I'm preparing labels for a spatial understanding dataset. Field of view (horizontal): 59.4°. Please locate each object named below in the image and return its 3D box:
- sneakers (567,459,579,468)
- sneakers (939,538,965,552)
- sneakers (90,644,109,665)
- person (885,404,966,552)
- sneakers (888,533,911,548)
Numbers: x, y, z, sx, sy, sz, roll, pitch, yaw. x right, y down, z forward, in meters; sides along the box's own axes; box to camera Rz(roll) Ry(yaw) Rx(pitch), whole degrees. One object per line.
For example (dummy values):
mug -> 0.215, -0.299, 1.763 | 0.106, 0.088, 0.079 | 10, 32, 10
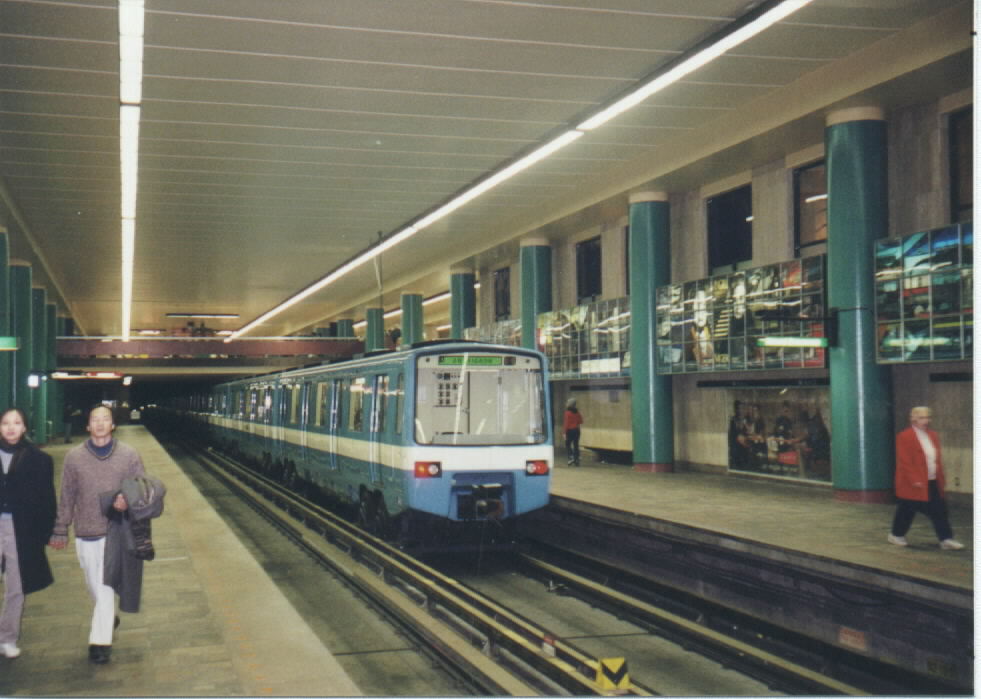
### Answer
sneakers -> 2.144, 2.902, 21.704 | 0.123, 0.259, 0.375 | 2, -8, -14
sneakers -> 5.944, 2.512, 11.007 | 0.259, 0.114, 0.147 | -2, -2, 12
sneakers -> -3.782, 2.955, 8.303 | 0.168, 0.165, 0.186 | 8, -20, -27
person -> 5.641, 1.682, 11.178 | 0.801, 2.010, 0.627 | 4, 1, -11
sneakers -> 5.428, 2.534, 11.383 | 0.107, 0.131, 0.295 | 2, -3, -40
